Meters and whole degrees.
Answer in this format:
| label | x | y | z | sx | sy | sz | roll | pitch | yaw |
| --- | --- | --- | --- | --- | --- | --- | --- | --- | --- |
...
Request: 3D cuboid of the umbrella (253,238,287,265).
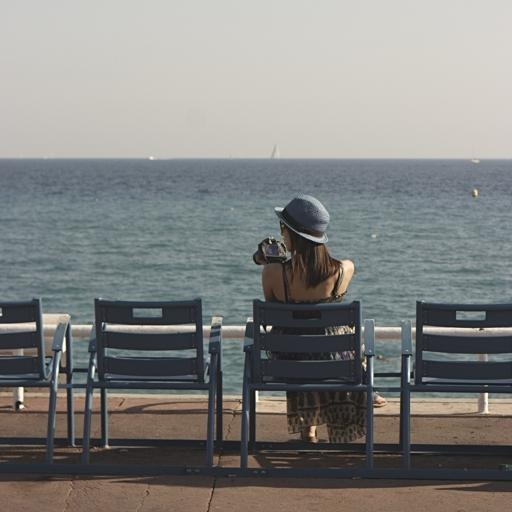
| label | x | y | z | sx | sy | sz | roll | pitch | yaw |
| --- | --- | --- | --- | --- | --- | --- | --- | --- | --- |
| umbrella | 1.432 | -0.437 | 127.389 | 1.928 | 1.302 | 2.606 | 6 | -2 | -18 |
